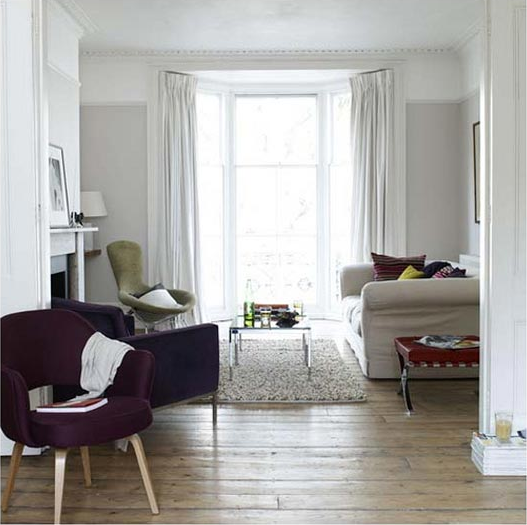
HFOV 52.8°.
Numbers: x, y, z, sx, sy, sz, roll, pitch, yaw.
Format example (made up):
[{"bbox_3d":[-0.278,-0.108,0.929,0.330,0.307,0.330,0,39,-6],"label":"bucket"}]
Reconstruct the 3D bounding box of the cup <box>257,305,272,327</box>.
[{"bbox_3d":[0.020,0.438,4.212,0.095,0.172,0.100,1,6,0],"label":"cup"}]

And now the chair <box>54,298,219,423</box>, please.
[{"bbox_3d":[-0.675,0.443,3.068,0.701,0.685,0.611,-1,1,-32],"label":"chair"}]

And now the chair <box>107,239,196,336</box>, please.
[{"bbox_3d":[-0.978,0.216,4.890,0.855,1.040,0.706,-5,-2,34],"label":"chair"}]

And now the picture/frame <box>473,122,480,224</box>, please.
[{"bbox_3d":[2.235,-0.922,5.485,0.071,1.049,0.291,1,5,16],"label":"picture/frame"}]

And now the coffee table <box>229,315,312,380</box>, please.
[{"bbox_3d":[0.063,0.635,4.380,0.624,0.418,1.232,0,5,0],"label":"coffee table"}]

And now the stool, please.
[{"bbox_3d":[1.113,0.732,3.415,0.444,0.328,0.482,-3,-16,3],"label":"stool"}]

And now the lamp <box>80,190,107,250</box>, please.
[{"bbox_3d":[-1.854,-0.468,5.825,0.273,0.658,0.528,-2,5,-17],"label":"lamp"}]

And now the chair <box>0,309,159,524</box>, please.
[{"bbox_3d":[-0.737,0.535,2.558,0.735,1.087,0.812,-2,-1,44],"label":"chair"}]
